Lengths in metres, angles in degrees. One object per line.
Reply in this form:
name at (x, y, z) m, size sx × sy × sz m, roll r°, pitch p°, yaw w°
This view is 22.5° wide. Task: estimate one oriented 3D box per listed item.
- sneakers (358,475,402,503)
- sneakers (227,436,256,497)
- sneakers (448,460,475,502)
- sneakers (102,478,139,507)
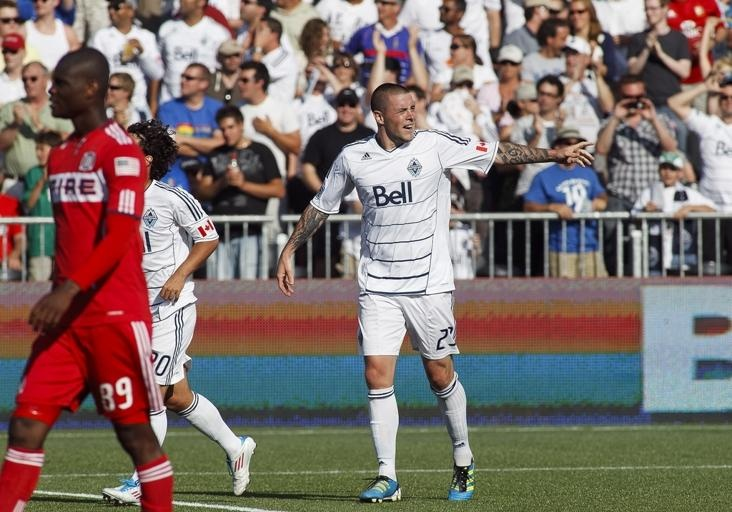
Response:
sneakers at (0.134, 2.127, 16.739) m, size 0.380 × 0.185 × 0.181 m, roll 6°, pitch -9°, yaw -37°
sneakers at (-1.161, 1.946, 17.052) m, size 0.266 × 0.568 × 0.197 m, roll 7°, pitch -8°, yaw -25°
sneakers at (0.882, 2.077, 16.873) m, size 0.143 × 0.424 × 0.166 m, roll 1°, pitch -18°, yaw 9°
sneakers at (-2.181, 2.150, 16.720) m, size 0.434 × 0.159 × 0.232 m, roll 11°, pitch 47°, yaw -5°
